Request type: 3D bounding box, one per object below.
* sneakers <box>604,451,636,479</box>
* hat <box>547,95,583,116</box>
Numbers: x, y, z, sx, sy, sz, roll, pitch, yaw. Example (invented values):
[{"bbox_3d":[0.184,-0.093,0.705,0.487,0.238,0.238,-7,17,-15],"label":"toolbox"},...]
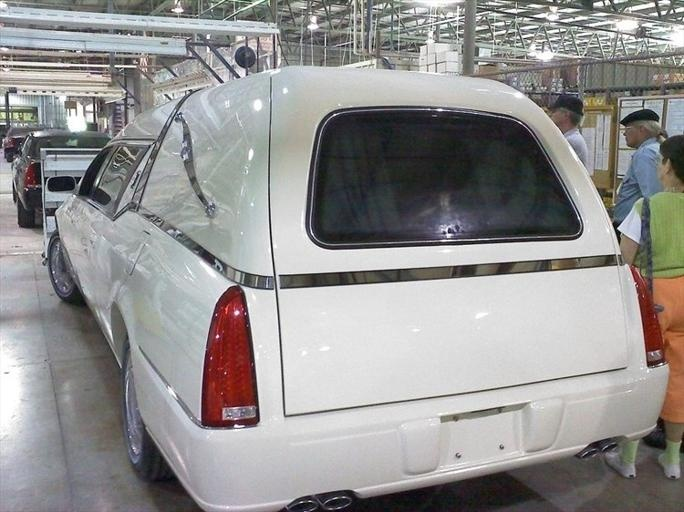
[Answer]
[{"bbox_3d":[1.654,1.240,3.173,0.076,0.099,0.232,-7,15,-8],"label":"sneakers"},{"bbox_3d":[2.417,-1.627,5.714,0.206,0.173,0.301,-15,33,-32],"label":"hat"}]
